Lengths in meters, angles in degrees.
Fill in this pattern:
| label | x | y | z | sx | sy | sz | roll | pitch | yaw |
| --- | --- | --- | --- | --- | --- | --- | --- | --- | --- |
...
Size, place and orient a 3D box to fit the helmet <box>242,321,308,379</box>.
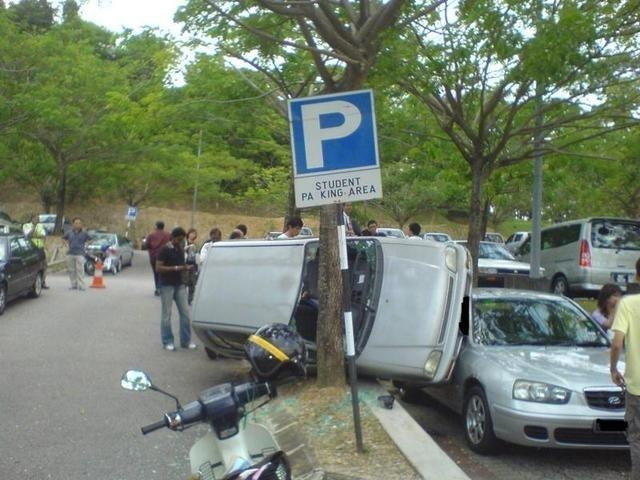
| label | x | y | z | sx | sy | sz | roll | pitch | yaw |
| --- | --- | --- | --- | --- | --- | --- | --- | --- | --- |
| helmet | -0.283 | 0.653 | 3.284 | 0.273 | 0.292 | 0.350 | -9 | -40 | 41 |
